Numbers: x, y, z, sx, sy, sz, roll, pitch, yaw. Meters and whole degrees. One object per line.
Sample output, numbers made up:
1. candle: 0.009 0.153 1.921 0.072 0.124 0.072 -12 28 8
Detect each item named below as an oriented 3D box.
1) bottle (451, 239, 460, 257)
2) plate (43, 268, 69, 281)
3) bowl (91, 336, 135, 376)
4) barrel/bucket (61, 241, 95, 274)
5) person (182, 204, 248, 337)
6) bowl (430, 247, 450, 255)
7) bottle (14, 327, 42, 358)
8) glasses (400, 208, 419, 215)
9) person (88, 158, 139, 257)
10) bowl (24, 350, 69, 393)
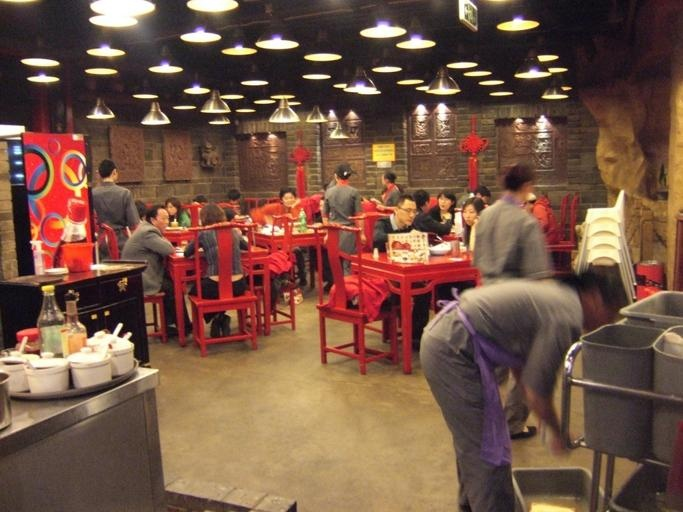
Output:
1. bottle: 1.056 -0.073 5.353 0.068 0.153 0.091 0 12 11
2. plate: -2.185 0.138 4.389 0.133 0.023 0.136 18 20 38
3. bowl: -1.081 0.454 2.724 0.178 0.164 0.182 2 4 0
4. barrel/bucket: -2.073 0.016 4.525 0.228 0.186 0.228 1 2 0
5. person: -1.325 0.193 5.992 0.616 1.453 0.618 1 12 13
6. bowl: 0.953 -0.035 5.594 0.186 0.070 0.123 0 12 10
7. bottle: -1.568 0.415 2.857 0.144 0.110 0.136 1 -1 0
8. glasses: 0.681 -0.435 5.769 0.167 0.085 0.078 -11 15 -39
9. person: -2.667 -0.392 6.730 0.589 1.403 0.395 9 28 -3
10. bowl: -1.292 0.502 2.525 0.156 0.148 0.164 5 11 -1
